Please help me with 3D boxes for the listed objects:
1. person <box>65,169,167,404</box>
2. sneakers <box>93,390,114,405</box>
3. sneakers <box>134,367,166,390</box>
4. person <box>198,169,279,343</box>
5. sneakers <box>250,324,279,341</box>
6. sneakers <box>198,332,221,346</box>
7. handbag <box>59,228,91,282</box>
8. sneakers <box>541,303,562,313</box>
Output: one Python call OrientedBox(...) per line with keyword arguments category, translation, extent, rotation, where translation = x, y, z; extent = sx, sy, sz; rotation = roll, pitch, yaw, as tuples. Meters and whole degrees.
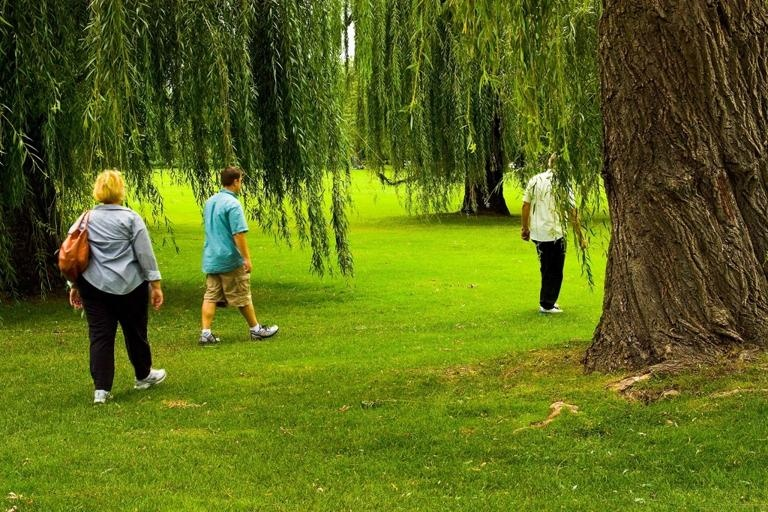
OrientedBox(category="person", translation=(-2.990, 0.317, 10.550), extent=(0.971, 2.495, 0.629), rotation=(-4, 8, -21))
OrientedBox(category="sneakers", translation=(-3.101, 1.548, 10.477), extent=(0.092, 0.107, 0.226), rotation=(4, 6, 5))
OrientedBox(category="sneakers", translation=(-2.671, 1.415, 10.904), extent=(0.389, 0.195, 0.167), rotation=(-22, 29, -33))
OrientedBox(category="person", translation=(-2.047, -0.016, 12.685), extent=(0.919, 2.343, 0.582), rotation=(-2, 8, -6))
OrientedBox(category="sneakers", translation=(-1.637, 1.014, 12.973), extent=(0.402, 0.196, 0.162), rotation=(-8, 14, -6))
OrientedBox(category="sneakers", translation=(-2.352, 1.096, 12.809), extent=(0.129, 0.153, 0.345), rotation=(6, 7, 27))
OrientedBox(category="handbag", translation=(-3.360, -0.049, 10.306), extent=(0.299, 0.680, 0.271), rotation=(20, 35, 6))
OrientedBox(category="sneakers", translation=(2.452, 0.753, 13.906), extent=(0.302, 0.150, 0.126), rotation=(0, 5, -8))
